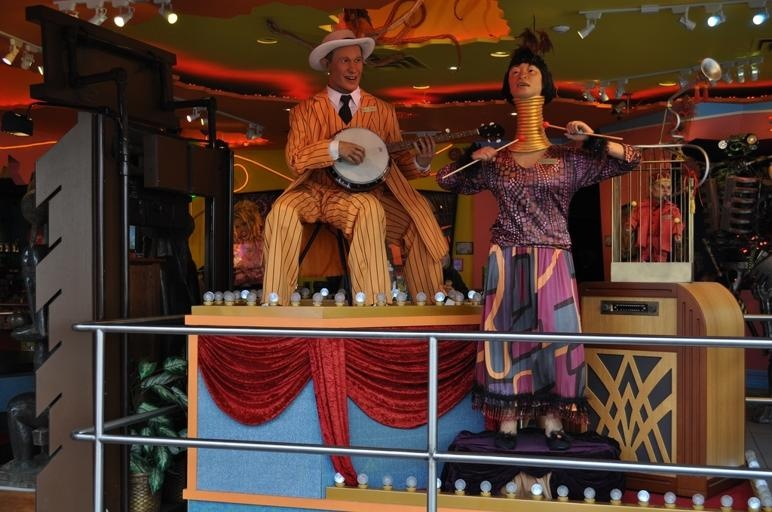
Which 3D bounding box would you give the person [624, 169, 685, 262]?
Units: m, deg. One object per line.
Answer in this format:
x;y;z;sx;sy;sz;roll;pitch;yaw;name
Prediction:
1.920;-0.174;5.935;0.380;0.801;0.275;10;20;23;person

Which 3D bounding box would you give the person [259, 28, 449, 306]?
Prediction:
-0.195;-0.617;5.730;1.258;1.928;0.594;2;-4;-9;person

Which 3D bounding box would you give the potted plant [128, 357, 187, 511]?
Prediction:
-1.557;1.214;5.629;0.364;1.032;0.559;2;-4;-14;potted plant

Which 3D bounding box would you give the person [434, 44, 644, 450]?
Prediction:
0.925;-0.082;5.229;1.090;2.510;0.387;0;-5;15;person
